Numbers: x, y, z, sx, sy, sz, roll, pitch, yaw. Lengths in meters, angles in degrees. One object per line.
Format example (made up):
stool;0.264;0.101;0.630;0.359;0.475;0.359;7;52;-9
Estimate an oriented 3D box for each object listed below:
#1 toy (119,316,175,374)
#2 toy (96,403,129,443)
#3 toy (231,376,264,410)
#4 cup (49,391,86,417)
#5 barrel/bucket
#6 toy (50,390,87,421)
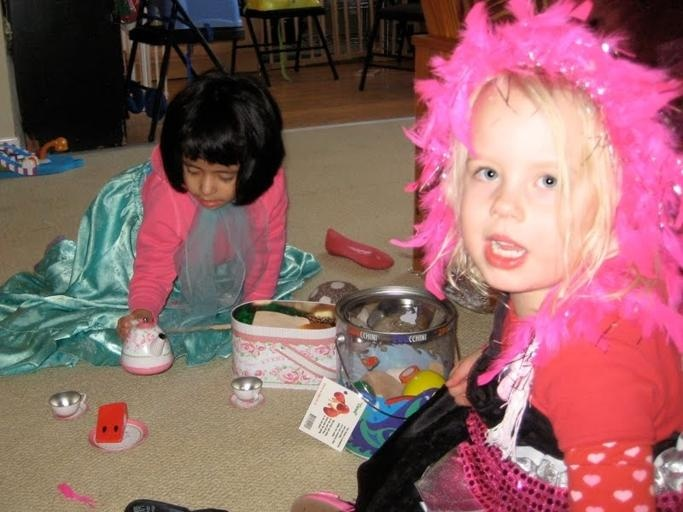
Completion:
toy;-0.520;0.236;1.485;0.107;0.104;0.145;-8;13;-44
toy;-0.522;0.384;1.255;0.062;0.022;0.083;-1;54;2
toy;-0.234;0.344;1.391;0.073;0.038;0.073;-18;35;-34
cup;-0.666;0.364;1.348;0.079;0.040;0.066;-12;30;-28
barrel/bucket;0.118;0.242;1.321;0.361;0.351;0.342;-2;26;1
toy;-0.667;0.361;1.339;0.060;0.033;0.072;4;11;5
